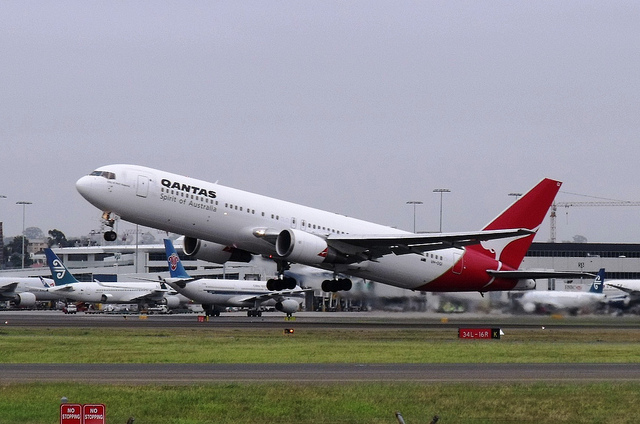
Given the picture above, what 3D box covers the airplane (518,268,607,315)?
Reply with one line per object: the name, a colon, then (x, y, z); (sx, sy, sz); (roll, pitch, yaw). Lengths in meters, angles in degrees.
airplane: (19.215, 5.817, 87.988); (6.531, 2.405, 6.391); (-10, 6, -37)
